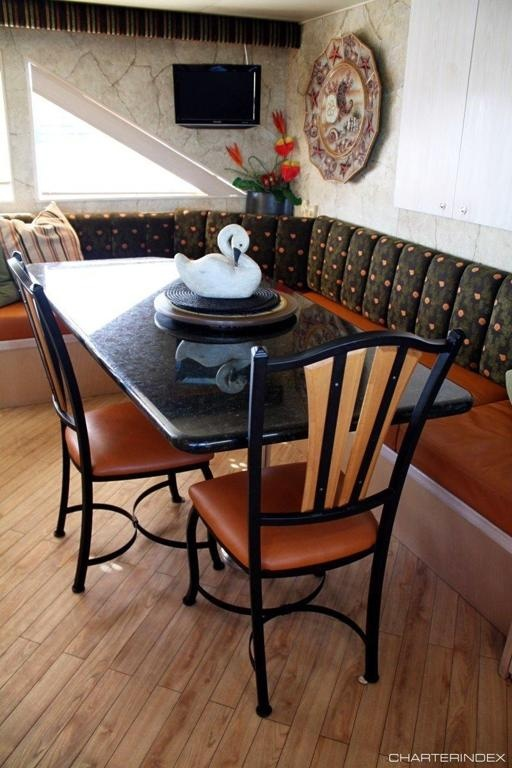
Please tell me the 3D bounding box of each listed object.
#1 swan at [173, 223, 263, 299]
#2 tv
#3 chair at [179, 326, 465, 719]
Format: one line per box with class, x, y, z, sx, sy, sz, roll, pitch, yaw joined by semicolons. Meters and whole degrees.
swan;-0.107;-0.379;1.612;0.244;0.222;0.190;-5;22;-15
tv;-0.251;-1.839;3.547;0.540;0.364;0.085;1;22;-4
chair;0.147;0.347;1.268;0.513;1.106;0.552;-10;36;-19
